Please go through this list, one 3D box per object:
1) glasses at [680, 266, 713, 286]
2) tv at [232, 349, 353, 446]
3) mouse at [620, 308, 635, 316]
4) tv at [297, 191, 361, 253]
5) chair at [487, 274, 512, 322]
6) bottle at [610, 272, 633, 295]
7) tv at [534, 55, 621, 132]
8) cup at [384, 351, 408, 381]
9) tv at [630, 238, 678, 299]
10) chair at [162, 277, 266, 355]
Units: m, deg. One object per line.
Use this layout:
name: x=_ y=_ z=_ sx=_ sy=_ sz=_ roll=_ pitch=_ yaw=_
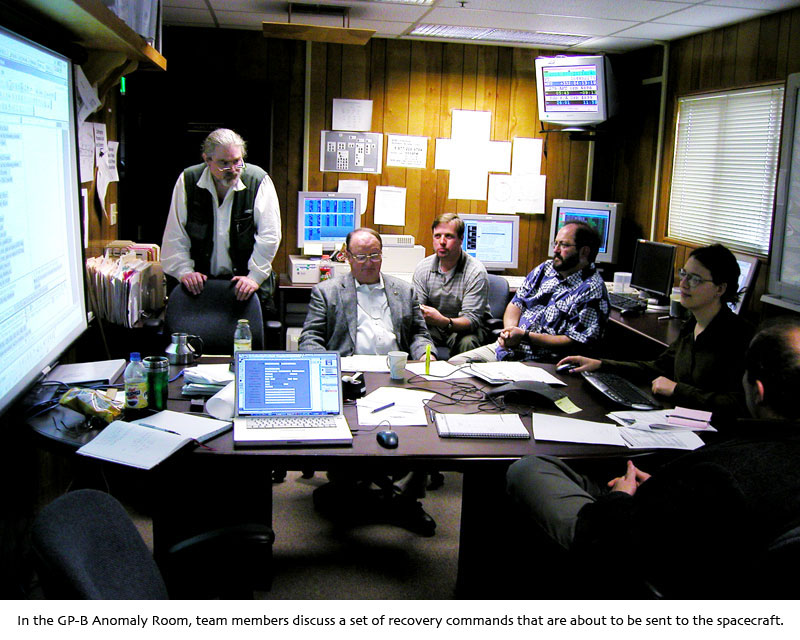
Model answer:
glasses: x=1.419 y=-0.199 z=3.059 sx=0.103 sy=0.032 sz=0.096 roll=15 pitch=1 yaw=-18
tv: x=-0.401 y=0.276 z=2.300 sx=0.384 sy=0.223 sz=0.331 roll=-1 pitch=9 yaw=-9
mouse: x=1.521 y=-0.048 z=4.268 sx=0.061 sy=0.040 sz=0.043 roll=-1 pitch=0 yaw=6
tv: x=-0.579 y=-0.778 z=5.044 sx=0.665 sy=0.573 sz=0.356 roll=0 pitch=14 yaw=-13
chair: x=0.685 y=-0.163 z=4.532 sx=0.266 sy=0.398 sz=0.270 roll=0 pitch=4 yaw=4
bottle: x=1.702 y=-0.279 z=4.929 sx=0.167 sy=0.168 sz=0.159 roll=0 pitch=6 yaw=-20
tv: x=1.400 y=-1.846 z=5.113 sx=0.590 sy=0.500 sz=0.359 roll=-1 pitch=-10 yaw=21
cup: x=-0.015 y=0.205 z=2.837 sx=0.104 sy=0.115 sz=0.120 roll=0 pitch=6 yaw=1
tv: x=1.844 y=-0.356 z=4.630 sx=0.179 sy=0.415 sz=0.421 roll=-2 pitch=17 yaw=-18
chair: x=-0.949 y=-0.045 z=3.416 sx=0.419 sy=0.514 sz=0.429 roll=0 pitch=8 yaw=-9
